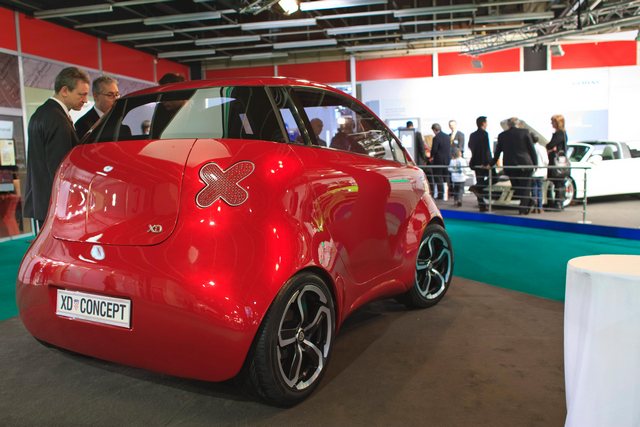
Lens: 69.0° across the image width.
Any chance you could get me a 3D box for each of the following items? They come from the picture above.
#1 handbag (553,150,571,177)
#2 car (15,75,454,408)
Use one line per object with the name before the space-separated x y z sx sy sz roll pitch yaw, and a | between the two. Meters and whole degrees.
handbag | 4.839 -0.939 9.226 0.292 0.486 0.936 6 14 26
car | -0.351 0.052 3.643 1.842 1.531 2.972 4 8 34
